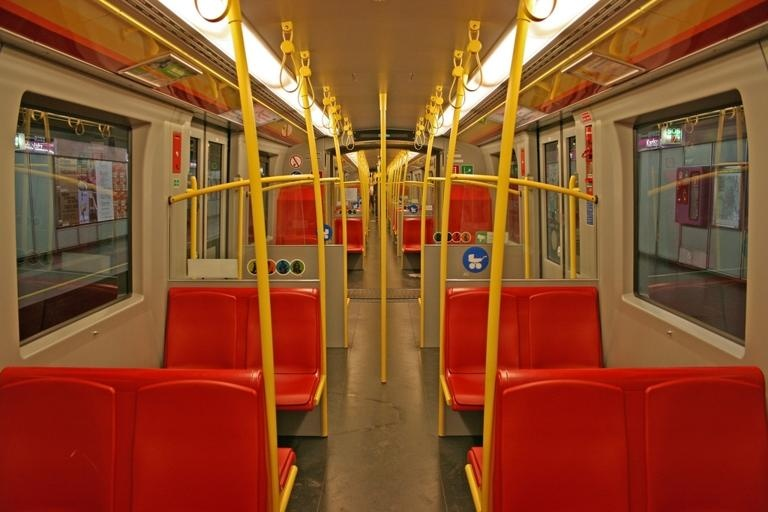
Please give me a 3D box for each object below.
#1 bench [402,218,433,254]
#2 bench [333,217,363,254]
[{"bbox_3d":[0.598,-0.427,11.014,0.634,0.872,0.694,1,-3,1],"label":"bench"},{"bbox_3d":[-0.659,-0.440,11.145,0.570,0.806,0.731,1,-2,-8],"label":"bench"}]
